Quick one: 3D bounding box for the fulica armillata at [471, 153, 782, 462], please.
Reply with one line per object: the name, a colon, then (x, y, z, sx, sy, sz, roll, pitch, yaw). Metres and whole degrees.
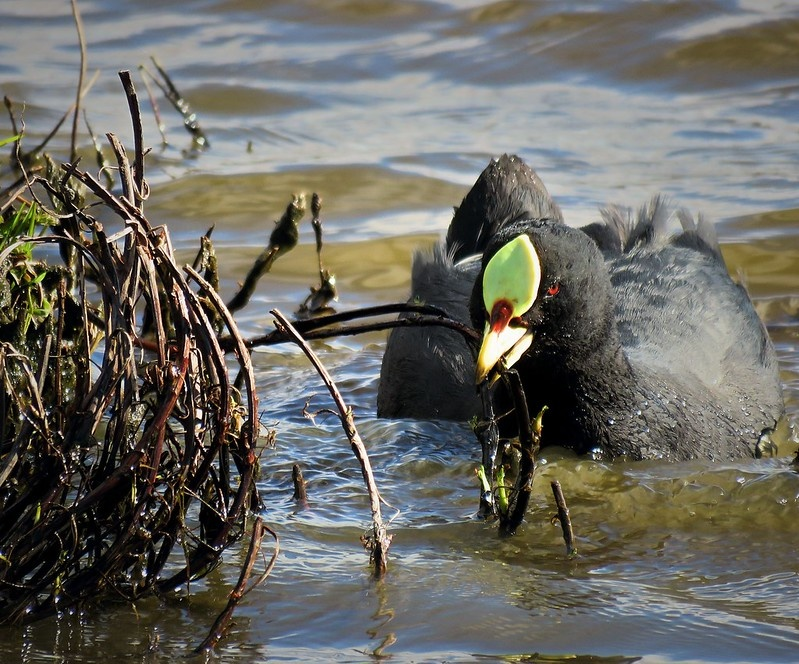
fulica armillata: (1.293, -0.002, 5.487, 1.384, 1.308, 2.807, 5, 14, 20)
